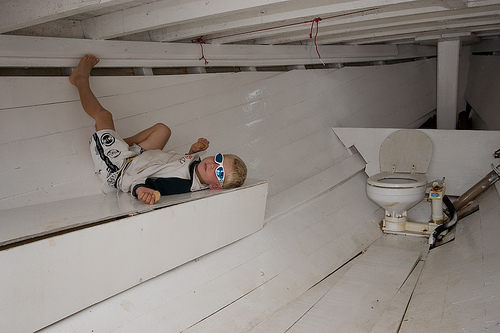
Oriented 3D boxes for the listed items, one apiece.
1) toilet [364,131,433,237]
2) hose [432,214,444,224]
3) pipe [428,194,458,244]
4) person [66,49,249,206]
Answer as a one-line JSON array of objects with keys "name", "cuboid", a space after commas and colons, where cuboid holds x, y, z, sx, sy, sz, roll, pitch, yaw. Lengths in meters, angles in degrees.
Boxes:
[{"name": "toilet", "cuboid": [1.599, 0.174, 3.204, 0.628, 0.964, 0.741, 1, 21, 30]}, {"name": "hose", "cuboid": [1.952, 0.542, 3.101, 0.094, 0.066, 0.089, -3, 30, -1]}, {"name": "pipe", "cuboid": [1.920, 0.533, 2.983, 0.254, 0.463, 0.290, 3, 11, 14]}, {"name": "person", "cuboid": [-0.628, -0.194, 2.187, 1.364, 0.806, 0.831, 6, 28, -14]}]
